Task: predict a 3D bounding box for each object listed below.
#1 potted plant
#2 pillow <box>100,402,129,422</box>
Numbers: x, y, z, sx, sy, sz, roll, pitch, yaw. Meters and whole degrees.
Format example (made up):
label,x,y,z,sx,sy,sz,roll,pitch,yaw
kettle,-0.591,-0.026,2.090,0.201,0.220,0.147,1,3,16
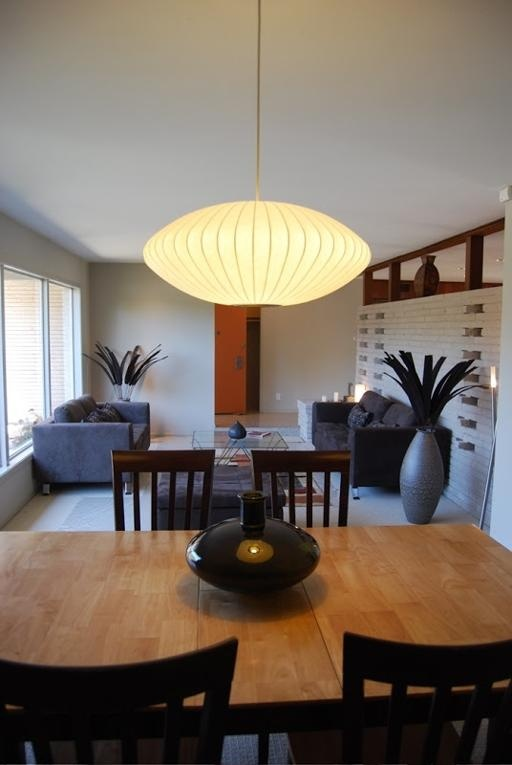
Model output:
label,x,y,z,sx,sy,sz,roll,pitch,yaw
potted plant,1.310,0.396,4.232,0.684,1.259,1.063,1,1,13
pillow,-1.542,0.299,6.117,0.211,0.250,0.366,-5,17,-4
